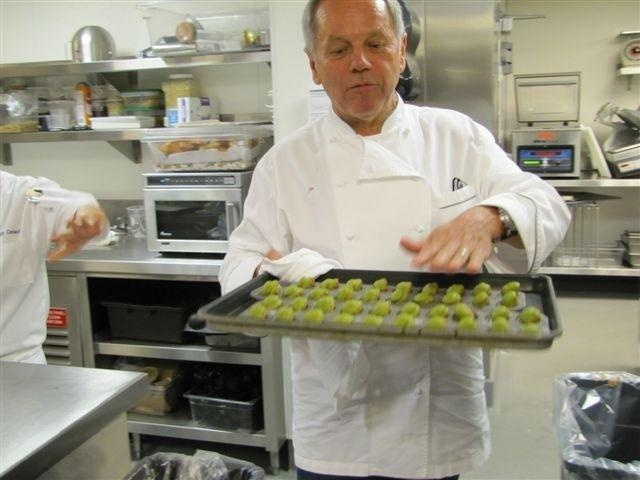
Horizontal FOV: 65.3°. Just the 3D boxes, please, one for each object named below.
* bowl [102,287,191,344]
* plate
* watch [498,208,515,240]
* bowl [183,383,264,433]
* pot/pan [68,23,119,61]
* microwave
[{"bbox_3d":[-0.874,0.365,2.506,0.339,0.135,0.256,0,1,12],"label":"bowl"},{"bbox_3d":[0.149,0.128,1.041,0.500,0.037,0.281,-1,16,20],"label":"plate"},{"bbox_3d":[0.433,-0.037,1.155,0.042,0.078,0.067,1,13,19],"label":"watch"},{"bbox_3d":[-0.449,0.815,2.486,0.272,0.108,0.200,0,0,14],"label":"bowl"},{"bbox_3d":[-1.281,-1.081,2.839,0.223,0.229,0.210,-6,13,-23],"label":"pot/pan"},{"bbox_3d":[-0.586,-0.131,2.576,0.570,0.379,0.383,2,4,18],"label":"microwave"}]
